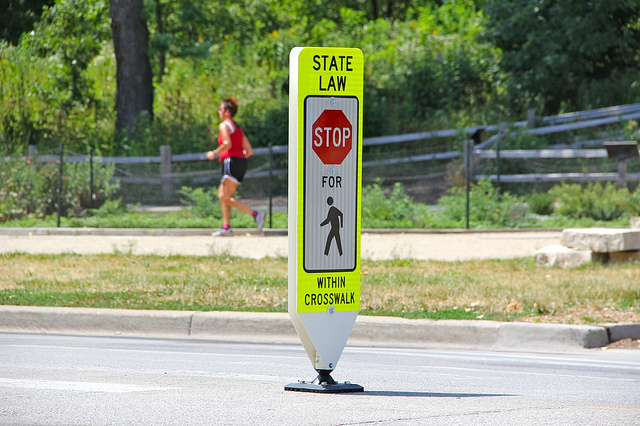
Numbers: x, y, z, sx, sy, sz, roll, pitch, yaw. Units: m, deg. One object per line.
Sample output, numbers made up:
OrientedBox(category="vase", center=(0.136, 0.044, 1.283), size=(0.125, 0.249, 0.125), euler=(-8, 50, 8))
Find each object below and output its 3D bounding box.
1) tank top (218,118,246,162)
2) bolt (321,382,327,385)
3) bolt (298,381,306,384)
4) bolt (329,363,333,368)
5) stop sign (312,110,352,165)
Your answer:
OrientedBox(category="tank top", center=(-2.259, -1.778, 36.038), size=(0.703, 1.393, 0.950), euler=(0, 0, 15))
OrientedBox(category="bolt", center=(0.095, 3.198, 28.033), size=(0.062, 0.052, 0.038), euler=(2, -2, -4))
OrientedBox(category="bolt", center=(-0.328, 3.187, 28.142), size=(0.100, 0.024, 0.078), euler=(-1, 6, -10))
OrientedBox(category="bolt", center=(0.230, 2.851, 27.968), size=(0.060, 0.088, 0.024), euler=(0, 5, 1))
OrientedBox(category="stop sign", center=(0.212, -1.456, 27.804), size=(0.847, 1.211, 0.115), euler=(-1, 4, -10))
